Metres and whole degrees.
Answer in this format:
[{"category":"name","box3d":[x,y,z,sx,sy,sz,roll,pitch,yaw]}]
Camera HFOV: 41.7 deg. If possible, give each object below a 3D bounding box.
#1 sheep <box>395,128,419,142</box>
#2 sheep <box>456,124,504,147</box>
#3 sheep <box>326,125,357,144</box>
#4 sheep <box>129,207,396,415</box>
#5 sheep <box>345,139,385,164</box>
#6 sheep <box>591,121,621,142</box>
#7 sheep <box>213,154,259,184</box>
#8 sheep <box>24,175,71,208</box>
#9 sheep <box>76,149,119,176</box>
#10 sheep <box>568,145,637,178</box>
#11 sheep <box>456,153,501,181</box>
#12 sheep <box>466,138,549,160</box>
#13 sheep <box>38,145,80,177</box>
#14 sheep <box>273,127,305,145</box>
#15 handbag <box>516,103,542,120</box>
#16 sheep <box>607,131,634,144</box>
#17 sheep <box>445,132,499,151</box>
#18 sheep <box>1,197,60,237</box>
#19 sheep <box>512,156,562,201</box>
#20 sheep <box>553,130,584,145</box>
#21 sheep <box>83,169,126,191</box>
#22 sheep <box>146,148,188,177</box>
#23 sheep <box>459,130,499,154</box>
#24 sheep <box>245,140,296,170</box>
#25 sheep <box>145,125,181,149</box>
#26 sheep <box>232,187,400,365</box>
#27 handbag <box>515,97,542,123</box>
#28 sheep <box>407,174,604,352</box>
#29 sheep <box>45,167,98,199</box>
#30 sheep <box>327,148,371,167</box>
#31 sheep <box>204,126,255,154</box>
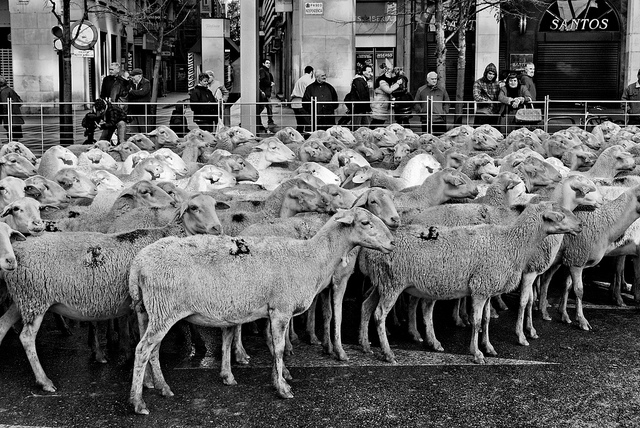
[{"category":"sheep","box3d":[2.212,-2.087,22.011,0.362,0.256,0.636,-6,10,7]},{"category":"sheep","box3d":[3.965,-1.955,21.094,0.883,0.455,1.162,-4,8,41]},{"category":"sheep","box3d":[0.549,-1.984,21.127,0.642,0.253,0.500,29,22,-8]},{"category":"sheep","box3d":[-0.736,1.268,11.578,3.671,2.663,1.217,-2,4,-12]},{"category":"sheep","box3d":[1.037,-1.429,18.670,0.624,0.244,0.471,28,38,26]},{"category":"sheep","box3d":[7.387,-2.066,21.871,0.562,0.279,0.768,-25,16,2]},{"category":"sheep","box3d":[-1.577,-0.928,16.159,0.777,0.480,0.446,33,32,-20]},{"category":"sheep","box3d":[-4.447,-0.318,13.810,0.677,0.368,0.420,21,28,-15]},{"category":"sheep","box3d":[-4.622,-1.002,17.490,0.802,0.456,0.603,2,10,-15]},{"category":"sheep","box3d":[5.667,-0.998,16.544,0.668,0.533,1.146,14,21,43]},{"category":"sheep","box3d":[3.039,-0.909,16.305,0.781,0.422,0.559,-10,0,9]},{"category":"sheep","box3d":[4.230,-1.374,18.328,1.234,0.484,0.786,-7,15,-2]},{"category":"sheep","box3d":[-5.427,-1.246,17.630,0.439,0.337,0.585,2,-10,26]},{"category":"sheep","box3d":[-0.735,-1.856,20.503,0.608,0.385,0.436,3,24,-33]},{"category":"handbag","box3d":[6.034,-2.983,24.533,0.747,0.729,0.338,-1,-23,11]},{"category":"sheep","box3d":[7.158,-1.876,20.226,0.586,0.218,0.444,-29,19,-17]},{"category":"sheep","box3d":[3.572,-1.697,20.001,0.897,0.300,0.467,8,-30,24]},{"category":"sheep","box3d":[-4.134,0.019,12.047,0.877,0.496,0.526,6,9,44]},{"category":"sheep","box3d":[3.832,-0.706,15.273,1.067,0.645,0.646,12,-6,-7]},{"category":"sheep","box3d":[5.844,-1.848,19.862,0.620,0.227,0.442,43,23,31]},{"category":"sheep","box3d":[-3.880,-0.516,15.314,0.623,0.251,0.471,6,12,-14]},{"category":"sheep","box3d":[-2.961,-1.065,16.550,0.679,0.299,0.494,35,18,27]},{"category":"sheep","box3d":[3.785,-1.649,20.059,0.909,0.516,0.599,1,11,35]},{"category":"sheep","box3d":[-0.986,-1.315,18.017,0.783,0.539,0.706,4,5,5]},{"category":"sheep","box3d":[-3.973,-1.967,21.004,0.988,0.712,0.382,7,17,-6]},{"category":"sheep","box3d":[-0.062,0.914,13.031,3.122,2.631,1.173,8,26,39]},{"category":"handbag","box3d":[5.947,-2.977,24.149,0.780,1.005,0.358,1,-14,-1]},{"category":"sheep","box3d":[2.851,0.812,13.187,2.492,2.234,0.954,1,-9,2]},{"category":"sheep","box3d":[-4.226,-0.537,14.687,0.995,0.553,0.511,9,13,24]},{"category":"sheep","box3d":[0.607,-1.109,16.930,0.806,0.290,0.664,15,21,43]},{"category":"sheep","box3d":[-2.364,-1.697,20.644,1.559,0.832,0.626,-6,8,-5]}]
